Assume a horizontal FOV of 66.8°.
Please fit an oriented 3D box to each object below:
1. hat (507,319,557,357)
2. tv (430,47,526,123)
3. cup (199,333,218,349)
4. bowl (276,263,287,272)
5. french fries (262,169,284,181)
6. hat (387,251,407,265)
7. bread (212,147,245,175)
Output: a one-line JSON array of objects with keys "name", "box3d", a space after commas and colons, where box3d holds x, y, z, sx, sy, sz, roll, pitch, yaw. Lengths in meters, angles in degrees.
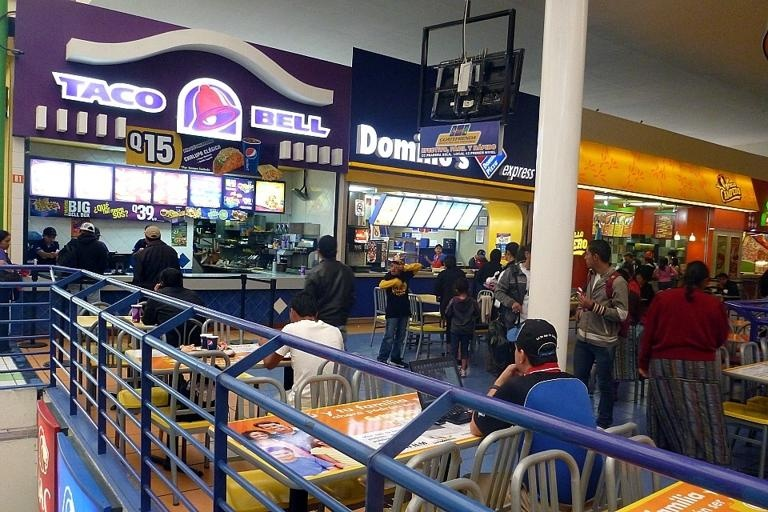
[{"name": "hat", "box3d": [1.140, 0.629, 4.596, 0.264, 0.190, 0.359, -4, 23, -22]}, {"name": "tv", "box3d": [1.296, -2.368, 8.250, 1.329, 0.949, 0.347, 4, 3, 39]}, {"name": "cup", "box3d": [-1.666, 0.808, 5.561, 0.139, 0.101, 0.135, 0, -1, 0]}, {"name": "bowl", "box3d": [-2.062, 0.219, 11.912, 0.212, 0.199, 0.156, 5, 12, 15]}, {"name": "french fries", "box3d": [-2.143, -1.560, 10.957, 0.384, 0.225, 0.238, 2, 2, -7]}, {"name": "hat", "box3d": [0.252, 0.032, 11.593, 0.356, 0.330, 0.279, 14, 7, 42]}, {"name": "bread", "box3d": [-2.783, -1.728, 10.480, 0.557, 0.469, 0.193, 1, 2, -16]}]
